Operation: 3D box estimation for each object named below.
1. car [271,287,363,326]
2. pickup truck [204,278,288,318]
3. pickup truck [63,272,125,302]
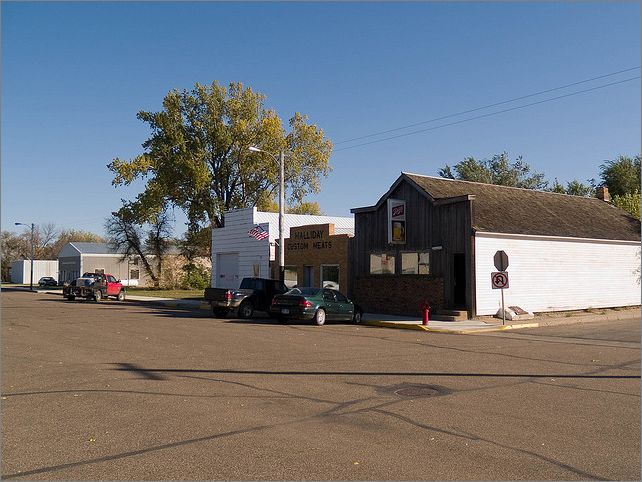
[{"bbox_3d":[-0.069,2.570,24.471,1.448,1.114,3.282,-2,-2,44],"label":"car"},{"bbox_3d":[-3.512,2.527,27.615,3.335,1.379,1.793,0,-2,-44],"label":"pickup truck"},{"bbox_3d":[-15.851,3.456,42.458,3.702,1.795,2.115,-1,0,-42],"label":"pickup truck"}]
